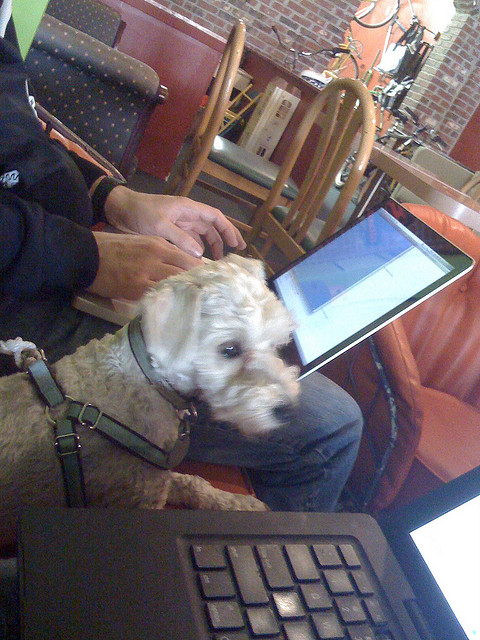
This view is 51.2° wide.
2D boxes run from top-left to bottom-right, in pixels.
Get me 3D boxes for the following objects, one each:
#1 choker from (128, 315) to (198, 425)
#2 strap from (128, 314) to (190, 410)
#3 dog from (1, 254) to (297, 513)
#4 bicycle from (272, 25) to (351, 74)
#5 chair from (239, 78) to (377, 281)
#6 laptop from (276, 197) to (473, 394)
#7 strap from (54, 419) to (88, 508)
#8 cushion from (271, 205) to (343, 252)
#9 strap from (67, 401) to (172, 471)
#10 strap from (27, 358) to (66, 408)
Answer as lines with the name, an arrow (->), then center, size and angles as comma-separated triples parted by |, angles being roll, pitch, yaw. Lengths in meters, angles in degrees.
choker -> -0.074, 0.059, 0.672 | 0.035, 0.098, 0.131 | -41, 104, -42
strap -> -0.084, 0.053, 0.645 | 0.021, 0.099, 0.090 | -33, 38, -24
dog -> -0.079, 0.049, 0.715 | 0.451, 0.296, 0.201 | -2, 26, -22
bicycle -> 0.883, -3.152, 5.882 | 0.944, 0.344, 0.577 | 14, -21, 15
chair -> 0.136, -0.447, 1.907 | 0.337, 0.754, 0.364 | 40, 4, 35
laptop -> 0.162, -0.069, 0.733 | 0.115, 0.174, 0.252 | 27, 29, -15
strap -> -0.179, 0.154, 0.531 | 0.032, 0.128, 0.014 | -4, 9, -17
cushion -> 0.287, -0.431, 2.254 | 0.338, 0.086, 0.325 | 28, 19, 7
strap -> -0.124, 0.136, 0.608 | 0.155, 0.043, 0.047 | 33, -13, -32
strap -> -0.215, 0.071, 0.565 | 0.053, 0.031, 0.018 | 59, -10, 7
